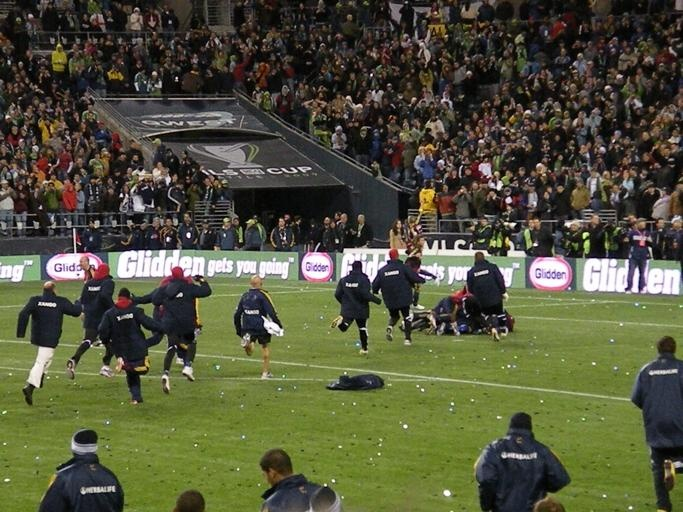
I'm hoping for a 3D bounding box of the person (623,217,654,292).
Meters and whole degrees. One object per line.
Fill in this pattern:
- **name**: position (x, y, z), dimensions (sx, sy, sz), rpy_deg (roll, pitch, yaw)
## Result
- **person**: position (10.501, 0.038, 49.284), dimensions (0.807, 2.700, 0.760), rpy_deg (5, 13, 23)
